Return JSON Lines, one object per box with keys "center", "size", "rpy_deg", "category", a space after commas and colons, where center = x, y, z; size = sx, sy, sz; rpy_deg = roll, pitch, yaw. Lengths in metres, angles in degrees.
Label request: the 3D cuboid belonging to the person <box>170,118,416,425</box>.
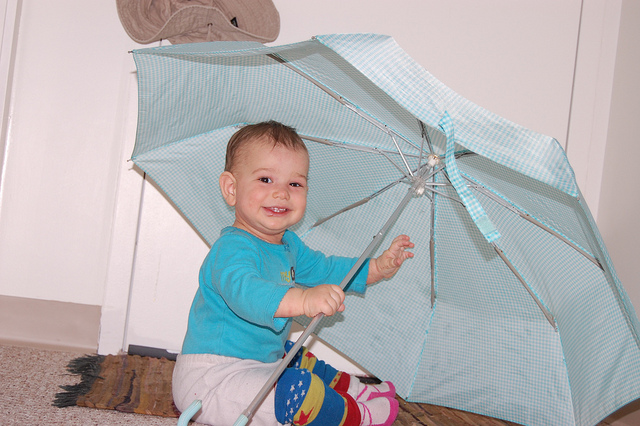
{"center": [-0.030, 0.219, 2.320], "size": [1.159, 1.433, 1.039], "rpy_deg": [2, 0, 14], "category": "person"}
